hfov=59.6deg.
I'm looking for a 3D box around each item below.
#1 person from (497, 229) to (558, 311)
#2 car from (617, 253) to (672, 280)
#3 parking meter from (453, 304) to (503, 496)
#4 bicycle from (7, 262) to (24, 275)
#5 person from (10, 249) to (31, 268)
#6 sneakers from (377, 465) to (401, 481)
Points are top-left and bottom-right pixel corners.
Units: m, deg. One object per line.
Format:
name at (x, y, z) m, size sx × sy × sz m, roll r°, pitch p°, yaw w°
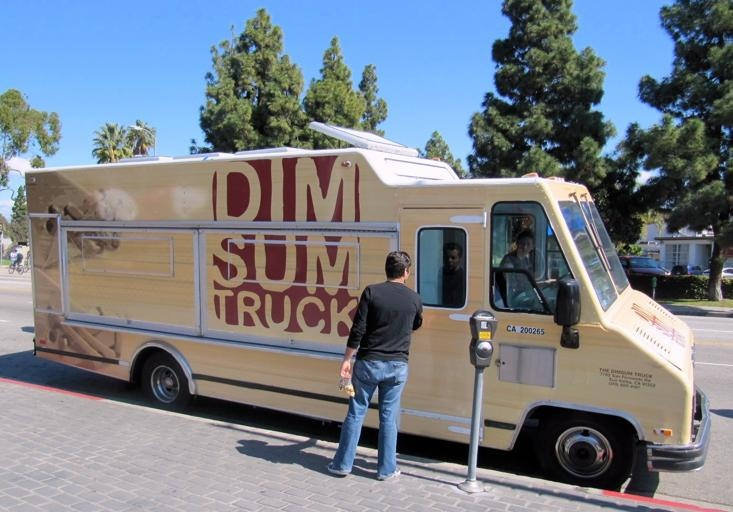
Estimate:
person at (1.933, 0.166, 7.843) m, size 0.692 × 0.972 × 0.236 m, roll 4°, pitch 6°, yaw 13°
car at (13.226, 0.478, 30.128) m, size 1.220 × 1.117 × 2.170 m, roll -1°, pitch -3°, yaw -18°
parking meter at (1.274, 1.654, 7.346) m, size 0.329 × 2.099 × 0.343 m, roll 6°, pitch 7°, yaw 31°
bicycle at (-23.098, 0.838, 42.259) m, size 1.306 × 0.890 × 0.674 m, roll 4°, pitch 0°, yaw 10°
person at (-24.702, 0.208, 45.555) m, size 1.340 × 1.088 × 0.795 m, roll 4°, pitch 6°, yaw 25°
sneakers at (0.267, 2.577, 7.638) m, size 0.116 × 0.157 × 0.319 m, roll 5°, pitch 6°, yaw 43°
